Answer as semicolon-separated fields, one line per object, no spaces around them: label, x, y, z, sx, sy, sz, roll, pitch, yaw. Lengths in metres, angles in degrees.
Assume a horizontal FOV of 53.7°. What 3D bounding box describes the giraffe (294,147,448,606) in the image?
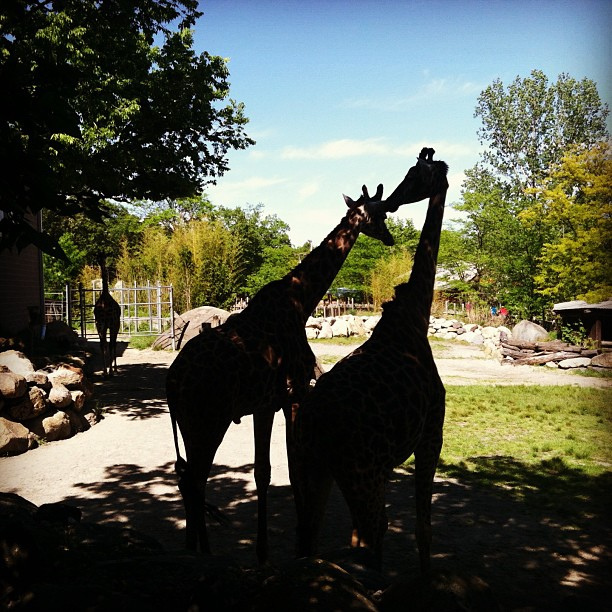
giraffe;0.436;0.304;3.763;0.851;2.441;1.509;5;2;16
